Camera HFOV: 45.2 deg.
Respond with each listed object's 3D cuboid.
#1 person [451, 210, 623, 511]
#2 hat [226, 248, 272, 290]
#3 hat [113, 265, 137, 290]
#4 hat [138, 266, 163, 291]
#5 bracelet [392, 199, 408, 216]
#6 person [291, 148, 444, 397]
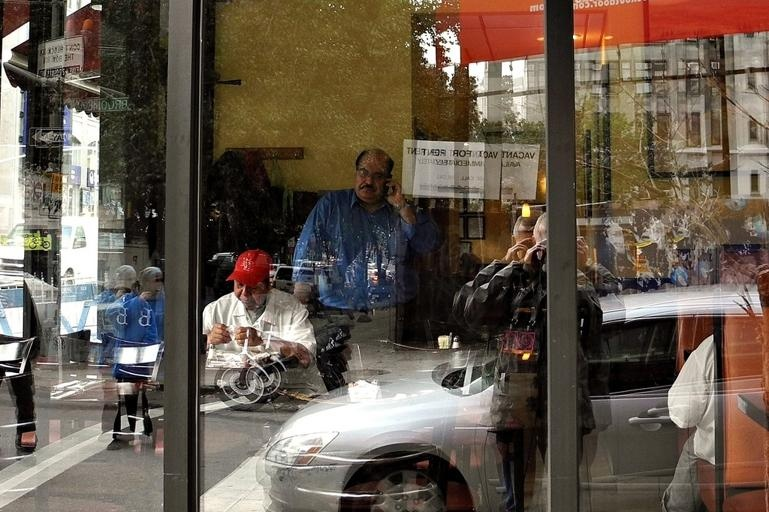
[{"bbox_3d":[0.557,0.406,3.505,0.601,1.129,0.296,-2,2,6],"label":"person"},{"bbox_3d":[-0.545,0.059,3.709,0.107,0.092,0.172,12,8,14],"label":"hat"},{"bbox_3d":[-1.018,0.084,3.618,0.070,0.101,0.098,1,-16,5],"label":"hat"},{"bbox_3d":[-0.902,0.091,3.566,0.091,0.128,0.078,0,1,-2],"label":"hat"},{"bbox_3d":[0.062,-0.199,3.730,0.041,0.075,0.017,-38,-14,32],"label":"bracelet"},{"bbox_3d":[-0.089,0.132,3.896,0.590,1.213,0.335,-1,24,-5],"label":"person"}]
